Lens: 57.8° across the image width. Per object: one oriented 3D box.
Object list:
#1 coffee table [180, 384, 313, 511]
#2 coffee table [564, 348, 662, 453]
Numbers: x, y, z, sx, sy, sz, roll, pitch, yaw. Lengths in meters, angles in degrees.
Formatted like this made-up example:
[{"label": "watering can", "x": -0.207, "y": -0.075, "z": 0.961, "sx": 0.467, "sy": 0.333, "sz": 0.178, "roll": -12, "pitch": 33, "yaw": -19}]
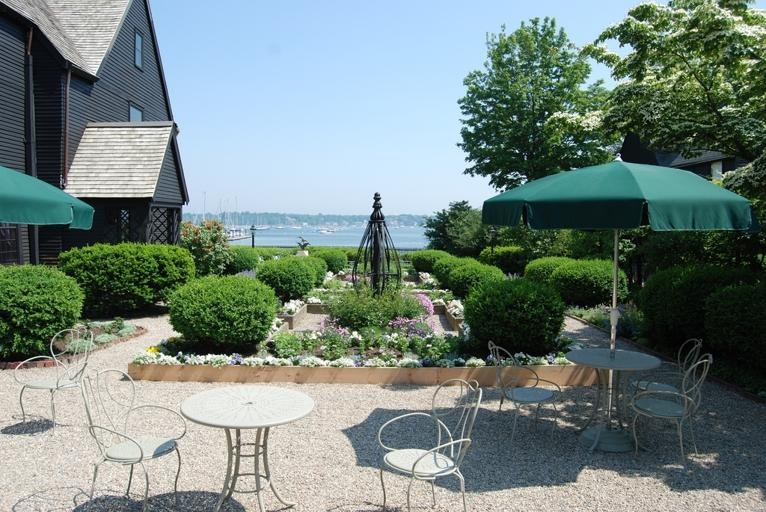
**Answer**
[{"label": "coffee table", "x": -2.005, "y": 2.950, "z": 10.178, "sx": 1.776, "sy": 1.442, "sz": 1.862, "roll": 1, "pitch": -1, "yaw": 1}, {"label": "coffee table", "x": 3.971, "y": 2.392, "z": 11.924, "sx": 1.568, "sy": 1.658, "sz": 1.624, "roll": 2, "pitch": 5, "yaw": 7}]
